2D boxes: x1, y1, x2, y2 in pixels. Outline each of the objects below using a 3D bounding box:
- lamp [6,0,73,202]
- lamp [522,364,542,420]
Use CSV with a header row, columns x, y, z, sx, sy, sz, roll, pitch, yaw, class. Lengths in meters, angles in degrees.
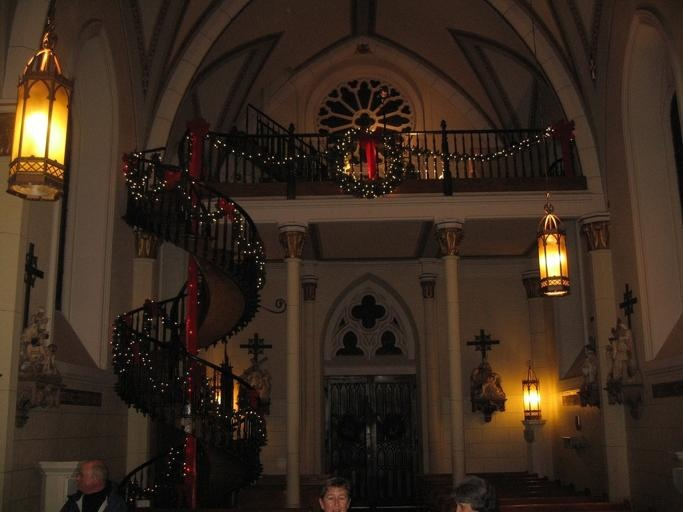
x,y,z,sx,sy,sz,roll,pitch,yaw,class
-3.288,-1.822,8.575,0.598,2.225,0.553,2,-14,-12,lamp
4.211,2.975,17.143,0.401,1.241,0.611,-5,-14,13,lamp
